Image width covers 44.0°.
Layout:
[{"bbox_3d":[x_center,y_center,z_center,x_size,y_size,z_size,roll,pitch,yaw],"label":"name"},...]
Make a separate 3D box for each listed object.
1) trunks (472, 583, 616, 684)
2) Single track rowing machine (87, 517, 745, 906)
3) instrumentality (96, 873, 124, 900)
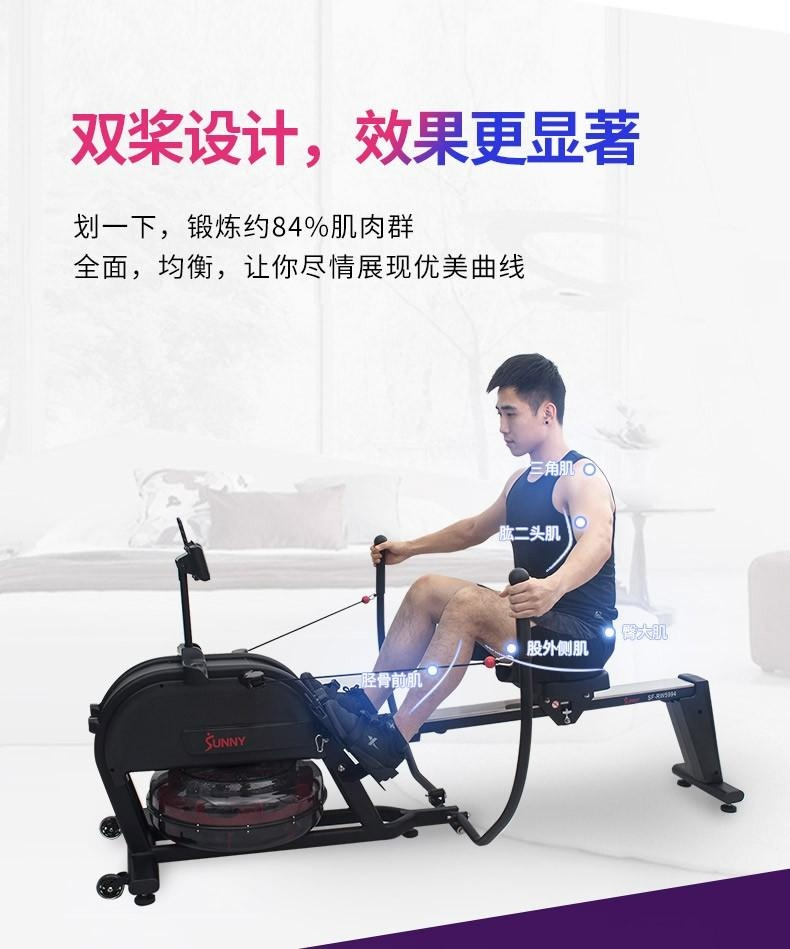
[{"bbox_3d":[0.370,0.414,2.297,0.261,0.188,0.102,0,-4,5],"label":"trunks"},{"bbox_3d":[0.072,0.521,2.487,1.523,0.759,0.692,0,1,-13],"label":"Single track rowing machine"},{"bbox_3d":[-0.599,0.873,2.067,0.060,0.042,0.041,-2,5,-23],"label":"instrumentality"}]
